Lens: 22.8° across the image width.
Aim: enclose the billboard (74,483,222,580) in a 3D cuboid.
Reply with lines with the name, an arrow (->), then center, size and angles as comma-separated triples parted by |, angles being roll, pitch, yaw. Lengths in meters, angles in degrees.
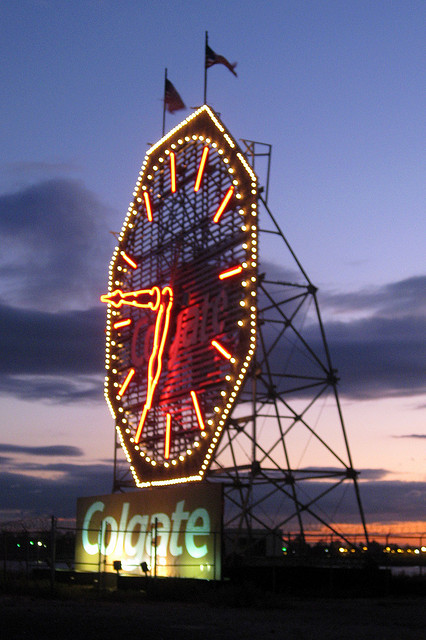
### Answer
billboard -> -2.452, 7.432, 37.168 | 7.721, 3.090, 0.080 | -11, -18, 43
